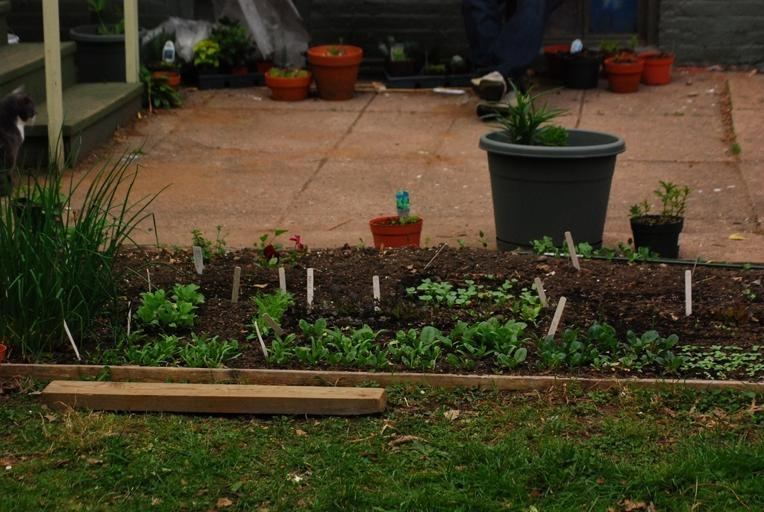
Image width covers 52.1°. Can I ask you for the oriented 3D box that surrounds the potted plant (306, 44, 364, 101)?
[{"bbox_3d":[-0.777,-2.580,11.125,0.870,0.595,0.821,1,16,0],"label":"potted plant"}]

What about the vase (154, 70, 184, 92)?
[{"bbox_3d":[-2.891,-2.396,10.593,0.304,0.204,0.282,1,13,4],"label":"vase"}]

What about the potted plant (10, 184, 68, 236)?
[{"bbox_3d":[-2.268,-0.301,5.134,0.441,0.323,0.416,4,6,15],"label":"potted plant"}]

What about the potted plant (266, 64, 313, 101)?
[{"bbox_3d":[-1.280,-2.367,11.049,0.659,0.285,0.477,0,10,-3],"label":"potted plant"}]

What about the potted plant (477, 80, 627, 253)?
[{"bbox_3d":[1.377,-0.775,6.528,1.356,1.178,1.289,1,9,19],"label":"potted plant"}]

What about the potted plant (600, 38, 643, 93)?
[{"bbox_3d":[3.413,-2.635,10.870,0.605,0.667,0.664,11,25,43],"label":"potted plant"}]

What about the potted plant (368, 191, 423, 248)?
[{"bbox_3d":[0.112,-0.291,6.173,0.392,0.432,0.426,-2,13,-1],"label":"potted plant"}]

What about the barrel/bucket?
[{"bbox_3d":[1.374,-0.556,6.310,1.070,0.731,1.030,0,9,0],"label":"barrel/bucket"}]

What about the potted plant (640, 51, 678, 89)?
[{"bbox_3d":[3.931,-2.680,11.127,0.459,0.392,0.476,4,15,22],"label":"potted plant"}]

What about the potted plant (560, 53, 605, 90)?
[{"bbox_3d":[2.808,-2.595,10.964,0.571,0.394,0.588,8,13,39],"label":"potted plant"}]

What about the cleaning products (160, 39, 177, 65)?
[{"bbox_3d":[-2.876,-2.765,10.556,0.234,0.344,0.085,1,21,-2],"label":"cleaning products"}]
